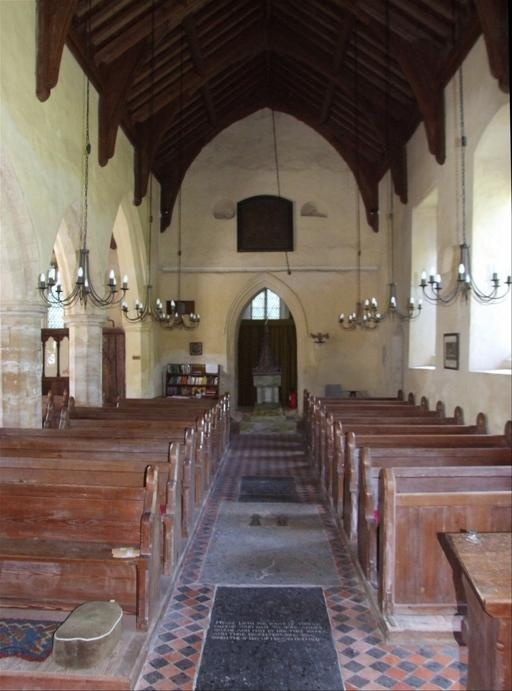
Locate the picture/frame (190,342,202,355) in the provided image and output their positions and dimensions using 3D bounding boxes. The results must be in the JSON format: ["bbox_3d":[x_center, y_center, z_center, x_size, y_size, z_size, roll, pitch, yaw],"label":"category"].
[{"bbox_3d":[-1.328,0.047,14.209,0.173,0.289,0.032,0,-1,-3],"label":"picture/frame"}]
